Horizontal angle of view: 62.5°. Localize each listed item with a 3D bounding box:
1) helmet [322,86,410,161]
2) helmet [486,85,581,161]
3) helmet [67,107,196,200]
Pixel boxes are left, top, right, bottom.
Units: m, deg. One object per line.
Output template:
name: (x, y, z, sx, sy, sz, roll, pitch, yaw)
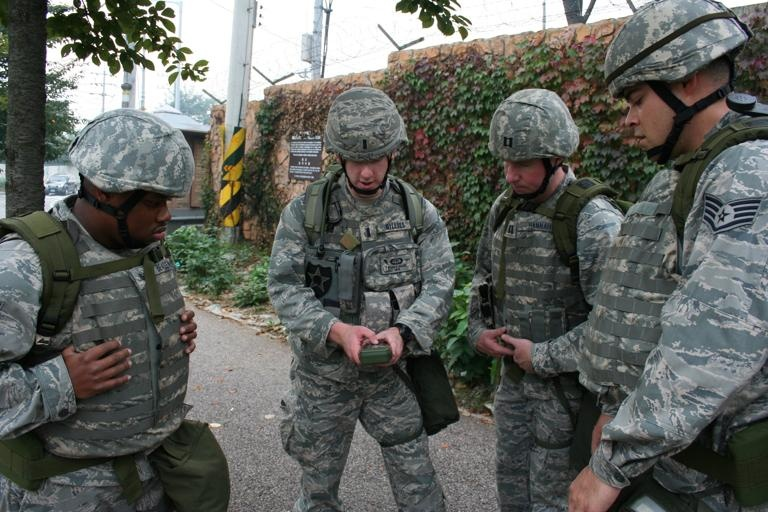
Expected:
helmet: (-0.104, -0.699, 3.599, 0.446, 0.421, 0.270, -1, -25, -3)
helmet: (0.900, -0.765, 3.727, 0.439, 0.353, 0.466, 9, 15, 43)
helmet: (-1.112, -0.446, 2.983, 0.584, 0.351, 0.415, 7, 12, -16)
